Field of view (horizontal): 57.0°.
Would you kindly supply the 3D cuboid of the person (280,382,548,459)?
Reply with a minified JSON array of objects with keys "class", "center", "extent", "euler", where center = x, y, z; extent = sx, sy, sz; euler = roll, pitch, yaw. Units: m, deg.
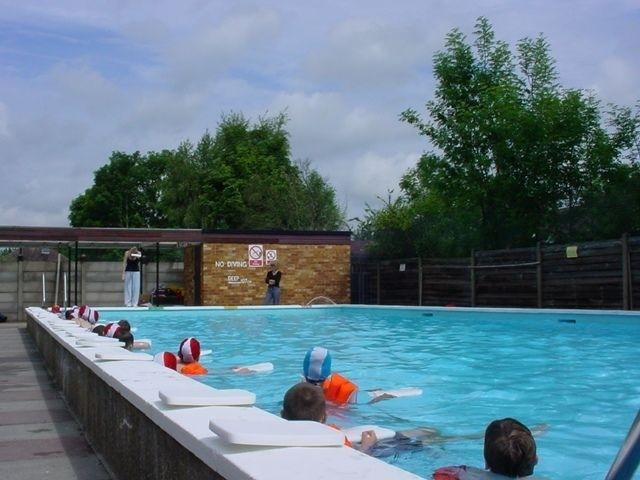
[{"class":"person","center":[0.935,1.682,5.492],"extent":[2.099,0.862,0.898],"euler":[1,-3,-16]}]

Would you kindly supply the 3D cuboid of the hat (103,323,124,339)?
[{"class":"hat","center":[-2.660,1.174,7.590],"extent":[0.226,0.230,0.171],"euler":[7,14,23]}]

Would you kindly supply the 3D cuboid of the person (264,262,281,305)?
[{"class":"person","center":[-1.526,1.439,19.492],"extent":[0.457,1.357,1.035],"euler":[0,-2,-4]}]

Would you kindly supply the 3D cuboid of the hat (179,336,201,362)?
[{"class":"hat","center":[-1.819,1.556,8.421],"extent":[0.358,0.366,0.362],"euler":[-10,-19,36]}]

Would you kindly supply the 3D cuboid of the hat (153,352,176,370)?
[{"class":"hat","center":[-1.730,1.381,6.617],"extent":[0.242,0.237,0.458],"euler":[1,-3,-16]}]

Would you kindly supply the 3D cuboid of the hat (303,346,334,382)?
[{"class":"hat","center":[-0.011,1.270,6.027],"extent":[0.273,0.352,0.351],"euler":[-1,-7,6]}]

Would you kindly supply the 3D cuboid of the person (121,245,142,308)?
[{"class":"person","center":[-5.382,1.081,16.969],"extent":[0.453,1.695,1.478],"euler":[1,-2,-18]}]
